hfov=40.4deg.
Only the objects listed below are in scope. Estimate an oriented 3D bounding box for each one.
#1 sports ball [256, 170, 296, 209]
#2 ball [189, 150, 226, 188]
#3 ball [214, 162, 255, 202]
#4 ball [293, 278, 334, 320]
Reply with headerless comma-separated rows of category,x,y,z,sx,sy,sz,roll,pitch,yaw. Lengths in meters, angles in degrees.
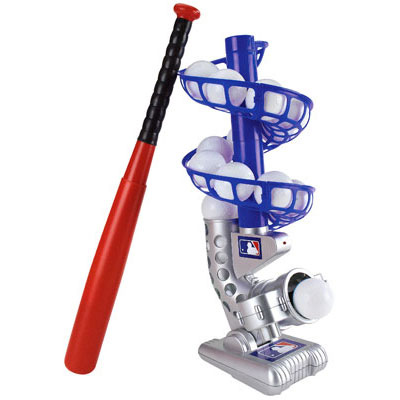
sports ball,0.271,-0.034,1.857,0.169,0.130,0.140,-1,-4,7
ball,0.027,-0.121,1.978,0.130,0.105,0.135,1,-63,2
ball,0.144,-0.066,1.937,0.127,0.139,0.126,-20,-61,-41
ball,0.384,0.339,1.850,0.163,0.132,0.142,4,-18,-27
